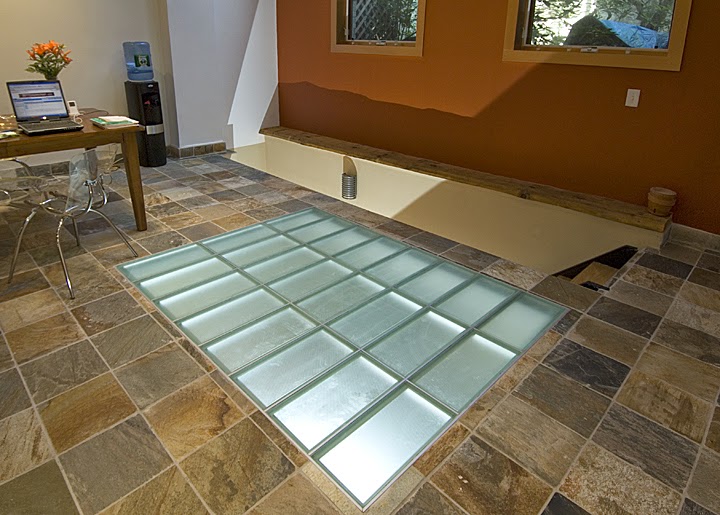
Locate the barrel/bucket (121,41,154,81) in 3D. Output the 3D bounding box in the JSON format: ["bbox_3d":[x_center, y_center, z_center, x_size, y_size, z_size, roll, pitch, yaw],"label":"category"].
[{"bbox_3d":[-3.251,-2.870,5.670,0.377,0.515,0.404,5,31,-3],"label":"barrel/bucket"}]

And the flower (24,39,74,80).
[{"bbox_3d":[-3.271,-2.053,4.062,0.274,0.379,0.484,-21,40,-37],"label":"flower"}]

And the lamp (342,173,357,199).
[{"bbox_3d":[-0.128,-0.802,4.530,0.150,0.312,0.231,0,32,-11],"label":"lamp"}]

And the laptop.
[{"bbox_3d":[-2.950,-1.410,3.612,0.487,0.382,0.714,-15,36,-31],"label":"laptop"}]
